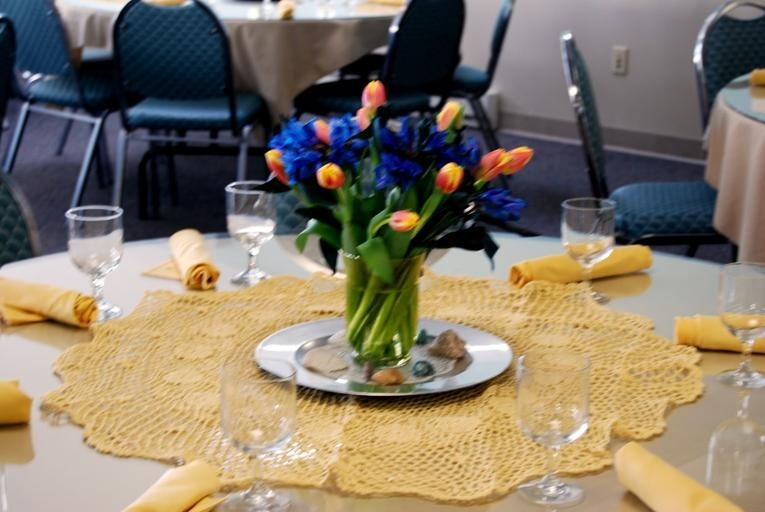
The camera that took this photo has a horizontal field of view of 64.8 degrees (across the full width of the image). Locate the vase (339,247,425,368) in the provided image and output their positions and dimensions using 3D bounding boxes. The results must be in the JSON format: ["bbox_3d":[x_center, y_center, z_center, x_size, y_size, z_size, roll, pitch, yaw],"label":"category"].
[{"bbox_3d":[-0.007,0.072,0.922,0.141,0.191,0.136,4,20,4],"label":"vase"}]

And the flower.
[{"bbox_3d":[0.014,-0.047,1.011,0.392,0.398,0.402,11,10,36],"label":"flower"}]

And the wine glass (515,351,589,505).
[{"bbox_3d":[0.194,0.179,0.691,0.081,0.153,0.136,5,18,19],"label":"wine glass"}]
